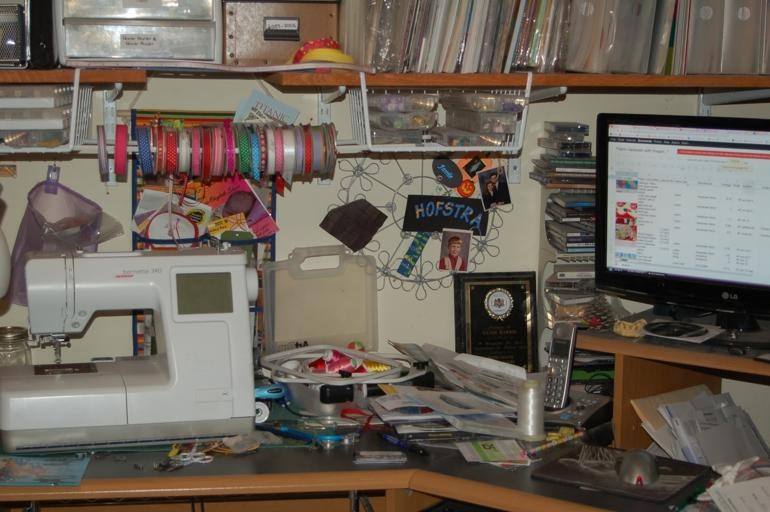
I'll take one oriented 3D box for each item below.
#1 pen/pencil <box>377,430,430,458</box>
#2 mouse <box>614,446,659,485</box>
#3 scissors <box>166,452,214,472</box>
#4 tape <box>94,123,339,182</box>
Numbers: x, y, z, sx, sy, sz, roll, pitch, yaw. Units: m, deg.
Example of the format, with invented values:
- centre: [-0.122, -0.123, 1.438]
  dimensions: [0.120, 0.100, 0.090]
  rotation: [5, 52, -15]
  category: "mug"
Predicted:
- centre: [0.053, 0.515, 1.923]
  dimensions: [0.129, 0.020, 0.020]
  rotation: [18, 31, 32]
  category: "pen/pencil"
- centre: [0.662, 0.539, 1.844]
  dimensions: [0.122, 0.063, 0.187]
  rotation: [-2, 0, 21]
  category: "mouse"
- centre: [-0.511, 0.538, 1.840]
  dimensions: [0.092, 0.031, 0.041]
  rotation: [3, -1, 0]
  category: "scissors"
- centre: [-0.441, -0.315, 2.149]
  dimensions: [0.583, 0.194, 0.128]
  rotation: [-5, 12, -9]
  category: "tape"
